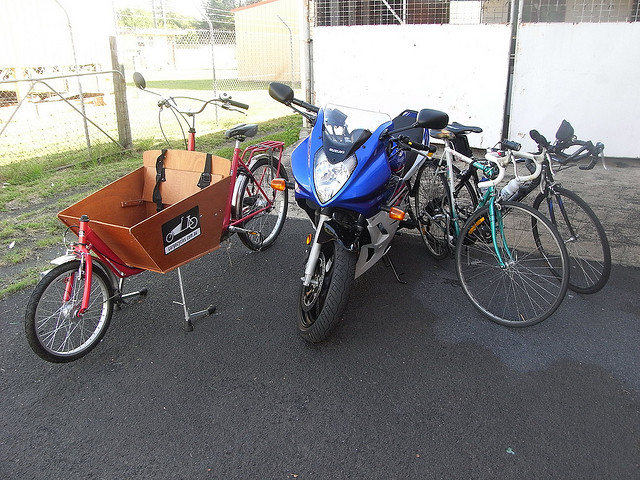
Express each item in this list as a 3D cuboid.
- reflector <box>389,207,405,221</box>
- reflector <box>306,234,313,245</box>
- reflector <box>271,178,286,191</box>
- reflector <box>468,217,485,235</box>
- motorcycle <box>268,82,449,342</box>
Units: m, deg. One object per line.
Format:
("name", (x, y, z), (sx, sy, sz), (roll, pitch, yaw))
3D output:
("reflector", (0.604, -0.207, 3.534), (0.100, 0.107, 0.106), (9, 26, 21))
("reflector", (-0.068, -0.012, 3.689), (0.015, 0.081, 0.075), (7, 4, -25))
("reflector", (-0.365, -0.510, 3.889), (0.137, 0.057, 0.097), (32, 33, 30))
("reflector", (1.388, -0.140, 3.989), (0.113, 0.115, 0.032), (30, 17, -38))
("motorcycle", (0.193, -0.619, 4.190), (1.141, 1.649, 2.431), (15, 35, 23))
